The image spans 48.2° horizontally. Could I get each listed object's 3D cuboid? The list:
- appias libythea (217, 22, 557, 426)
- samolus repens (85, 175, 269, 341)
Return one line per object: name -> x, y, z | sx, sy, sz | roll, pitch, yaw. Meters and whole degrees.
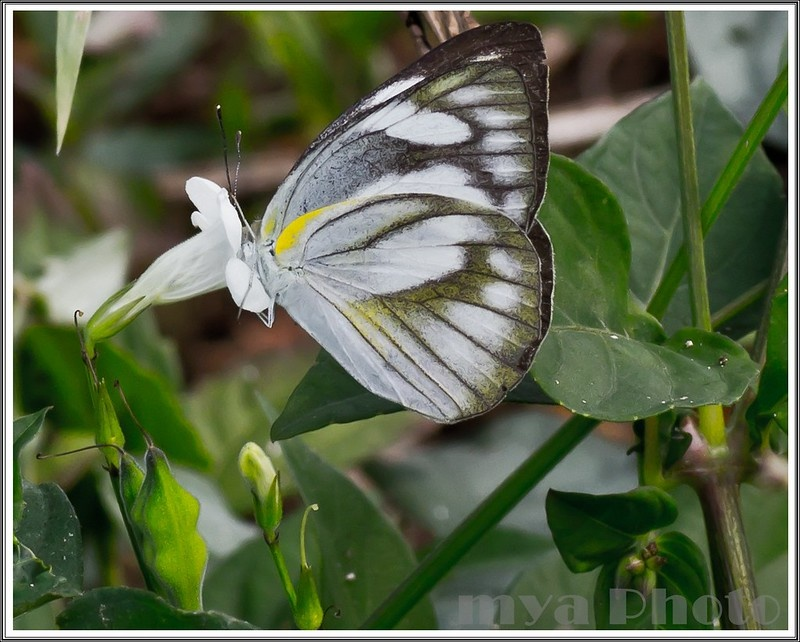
appias libythea -> 0.072, -0.083, 1.271 | 0.500, 0.361, 0.568 | 14, 4, -25
samolus repens -> -0.254, -0.033, 1.105 | 0.201, 0.107, 0.209 | -26, 24, 8
